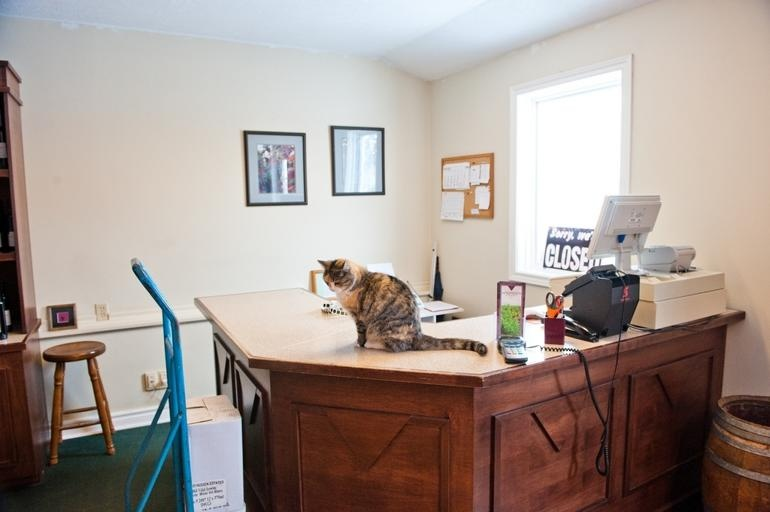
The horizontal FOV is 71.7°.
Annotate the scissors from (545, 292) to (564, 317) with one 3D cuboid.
[{"bbox_3d":[1.000,0.277,3.156,0.092,0.131,0.191,2,13,15],"label":"scissors"}]

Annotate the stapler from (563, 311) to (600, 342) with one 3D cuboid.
[{"bbox_3d":[1.163,0.431,3.274,0.090,0.131,0.345,-7,7,-23],"label":"stapler"}]

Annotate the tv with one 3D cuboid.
[{"bbox_3d":[1.539,-0.158,3.463,0.525,0.486,0.188,-9,15,-31],"label":"tv"}]

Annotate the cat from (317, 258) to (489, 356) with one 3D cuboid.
[{"bbox_3d":[0.065,0.270,3.047,0.854,0.520,0.217,-1,13,0],"label":"cat"}]
